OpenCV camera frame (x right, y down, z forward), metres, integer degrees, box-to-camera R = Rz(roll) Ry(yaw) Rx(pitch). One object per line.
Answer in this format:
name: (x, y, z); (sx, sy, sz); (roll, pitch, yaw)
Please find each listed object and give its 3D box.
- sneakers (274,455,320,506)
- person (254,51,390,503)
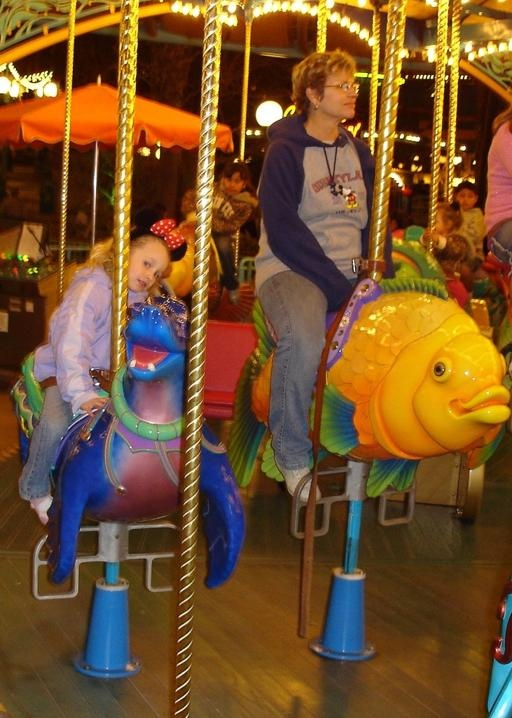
sneakers: (0.113, 0.353, 1.916); (0.072, 0.072, 0.188); (-10, 22, -30)
person: (0.165, -0.321, 2.053); (0.376, 1.136, 0.519); (4, 2, 8)
